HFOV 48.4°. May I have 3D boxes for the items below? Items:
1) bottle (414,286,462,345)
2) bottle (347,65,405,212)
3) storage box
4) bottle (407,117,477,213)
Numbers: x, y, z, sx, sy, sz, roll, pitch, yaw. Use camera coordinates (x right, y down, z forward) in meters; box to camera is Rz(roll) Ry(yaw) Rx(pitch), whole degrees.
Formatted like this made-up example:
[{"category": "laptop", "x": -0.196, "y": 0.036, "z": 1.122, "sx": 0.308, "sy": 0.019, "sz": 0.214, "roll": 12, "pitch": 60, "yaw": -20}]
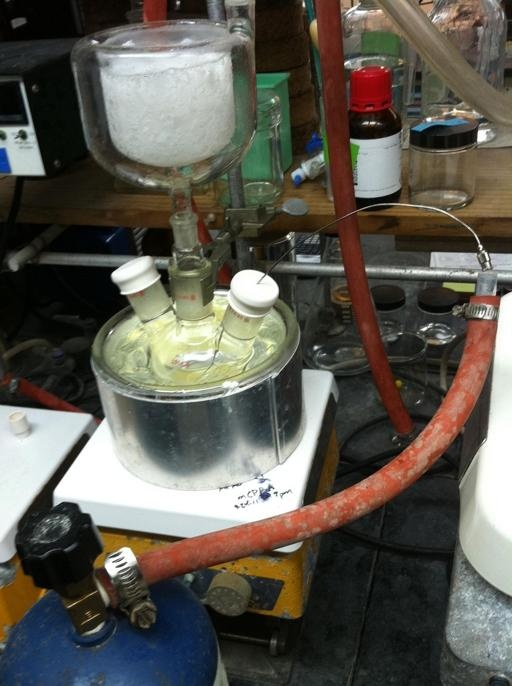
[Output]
[{"category": "bottle", "x": 0.495, "y": -0.070, "z": 1.548, "sx": 0.135, "sy": 0.140, "sz": 0.126, "roll": -3, "pitch": 46, "yaw": 9}, {"category": "bottle", "x": 0.196, "y": -0.333, "z": 0.933, "sx": 0.095, "sy": 0.216, "sz": 0.072, "roll": -15, "pitch": 31, "yaw": -11}, {"category": "storage box", "x": 0.022, "y": -0.420, "z": 1.115, "sx": 0.082, "sy": 0.188, "sz": 0.222, "roll": 5, "pitch": 32, "yaw": 22}, {"category": "bottle", "x": 0.327, "y": -0.322, "z": 1.007, "sx": 0.118, "sy": 0.129, "sz": 0.196, "roll": 4, "pitch": 31, "yaw": 19}]
